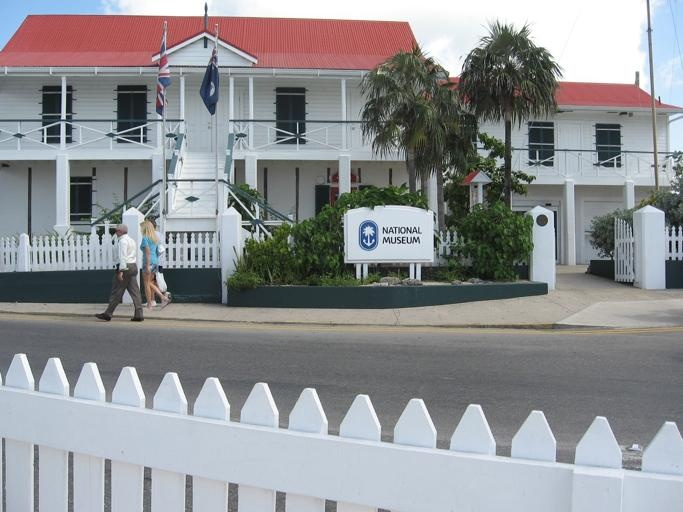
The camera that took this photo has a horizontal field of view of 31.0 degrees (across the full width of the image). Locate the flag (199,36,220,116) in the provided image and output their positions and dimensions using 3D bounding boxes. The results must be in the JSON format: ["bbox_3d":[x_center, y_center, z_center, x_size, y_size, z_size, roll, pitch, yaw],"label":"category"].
[{"bbox_3d":[-4.459,-6.131,41.957,0.672,2.804,0.248,11,-23,-22],"label":"flag"}]

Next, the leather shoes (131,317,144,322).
[{"bbox_3d":[-5.724,1.763,34.398,0.317,0.149,0.120,4,2,28],"label":"leather shoes"}]

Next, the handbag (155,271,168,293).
[{"bbox_3d":[-5.383,0.793,36.552,0.163,0.417,0.482,-9,27,-16],"label":"handbag"}]
